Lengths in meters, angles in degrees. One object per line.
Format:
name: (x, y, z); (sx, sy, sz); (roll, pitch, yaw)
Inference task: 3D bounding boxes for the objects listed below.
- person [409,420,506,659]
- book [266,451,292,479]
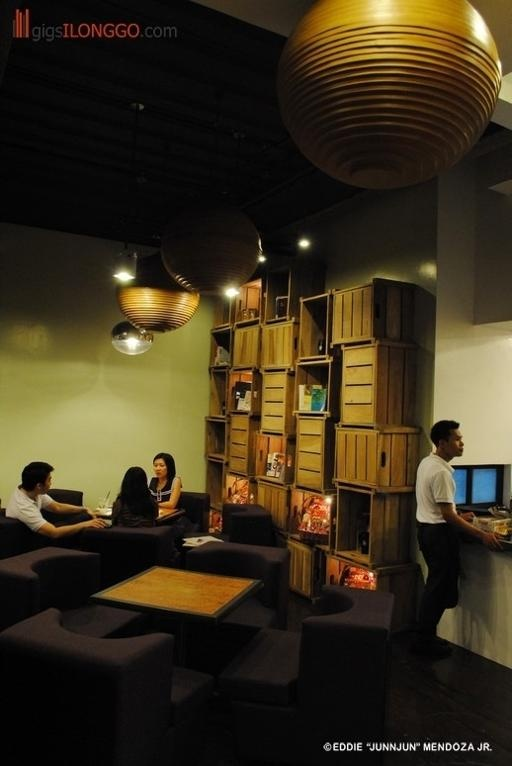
person: (1.414, 1.137, 4.106); (0.543, 1.696, 0.533); (-2, -1, 16)
book: (0.238, 0.884, 5.759); (0.229, 0.324, 0.322); (1, -8, 27)
